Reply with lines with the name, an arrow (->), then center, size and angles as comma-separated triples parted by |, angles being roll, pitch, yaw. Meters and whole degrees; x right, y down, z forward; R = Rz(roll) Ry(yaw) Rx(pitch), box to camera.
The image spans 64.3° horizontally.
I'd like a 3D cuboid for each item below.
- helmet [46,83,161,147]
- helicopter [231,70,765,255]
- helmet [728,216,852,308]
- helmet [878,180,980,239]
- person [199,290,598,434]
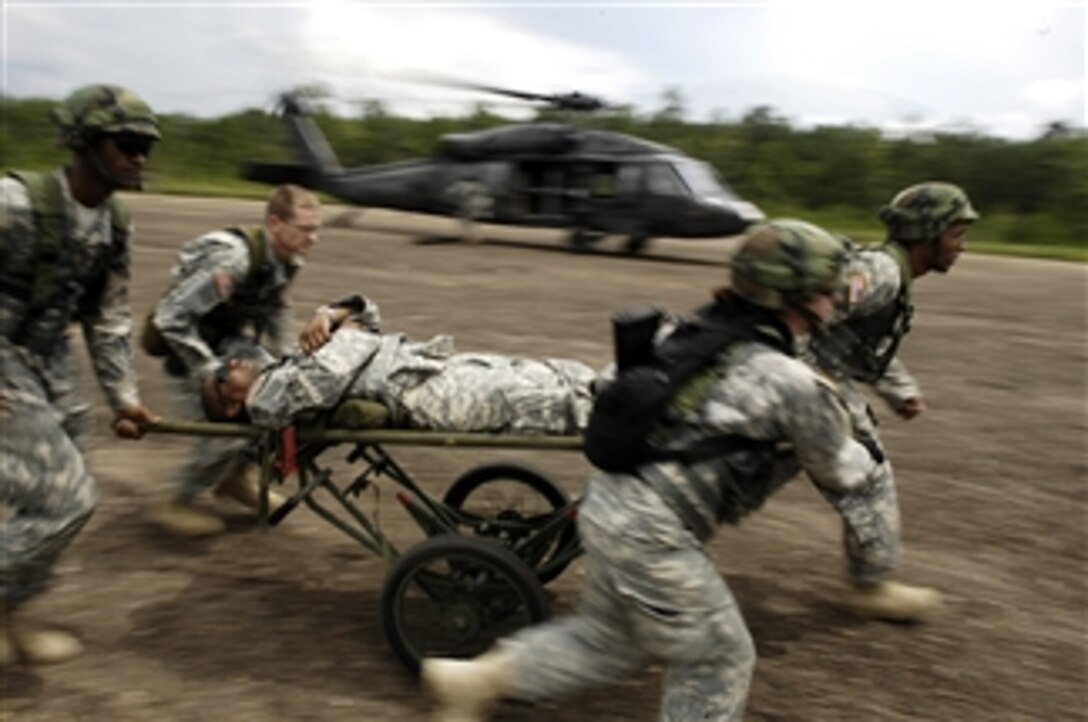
helmet -> -1.964, -1.092, 3.838 | 0.454, 0.270, 0.239 | 0, 27, -12
helicopter -> -0.918, -3.397, 14.956 | 8.538, 1.511, 5.421 | 7, 25, 12
helmet -> 0.911, -0.366, 3.237 | 0.423, 0.316, 0.278 | 8, 26, 6
helmet -> 1.916, -0.746, 4.309 | 0.456, 0.289, 0.286 | 10, 25, 11
person -> -0.604, 0.044, 4.009 | 2.232, 0.368, 0.630 | 0, 15, 2
